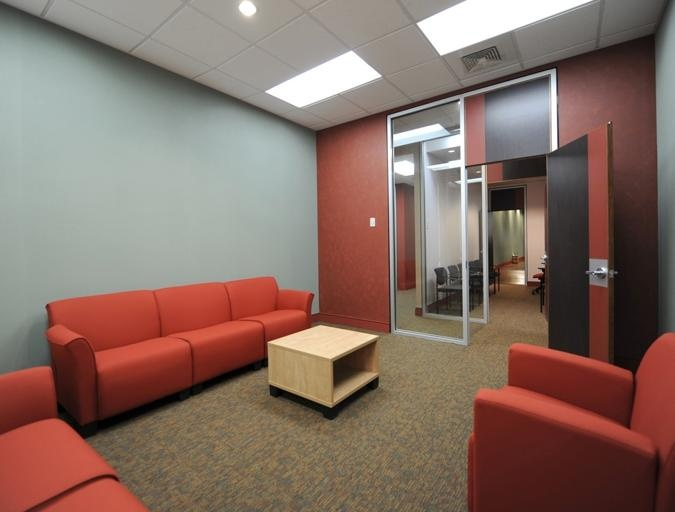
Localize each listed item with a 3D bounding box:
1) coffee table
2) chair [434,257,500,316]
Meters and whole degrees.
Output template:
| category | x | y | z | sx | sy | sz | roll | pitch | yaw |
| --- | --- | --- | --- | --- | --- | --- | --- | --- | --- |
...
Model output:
| category | x | y | z | sx | sy | sz | roll | pitch | yaw |
| --- | --- | --- | --- | --- | --- | --- | --- | --- | --- |
| coffee table | -0.125 | 1.094 | 4.540 | 0.843 | 0.554 | 0.862 | 4 | 9 | 39 |
| chair | 2.118 | 0.453 | 7.335 | 0.628 | 0.844 | 1.305 | 4 | 9 | 38 |
